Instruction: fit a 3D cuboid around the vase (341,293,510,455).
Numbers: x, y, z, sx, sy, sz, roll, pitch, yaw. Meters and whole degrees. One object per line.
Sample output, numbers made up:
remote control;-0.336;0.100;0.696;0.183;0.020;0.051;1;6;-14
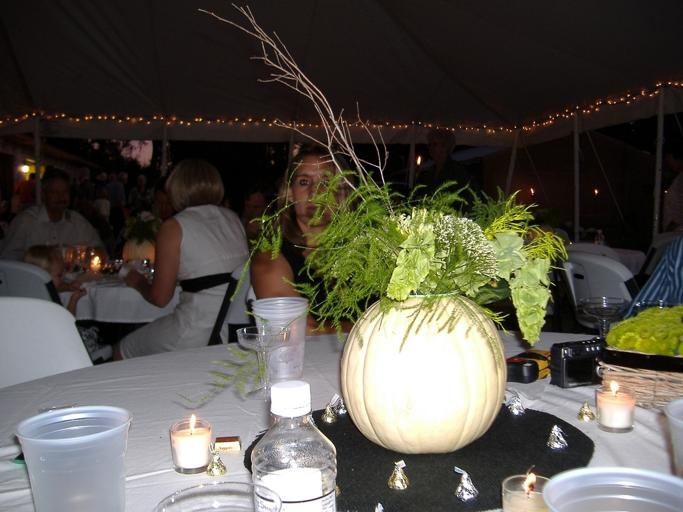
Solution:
vase;0.170;0.209;1.026;0.342;0.360;0.354;-3;8;-18

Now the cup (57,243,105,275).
cup;-1.925;0.036;3.617;0.252;0.201;0.253;0;-2;0

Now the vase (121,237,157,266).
vase;-1.638;-0.036;3.914;0.235;0.237;0.242;1;1;-6

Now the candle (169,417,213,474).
candle;-0.268;0.352;0.928;0.082;0.101;0.089;1;3;3

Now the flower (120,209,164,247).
flower;-1.759;-0.248;4.169;0.275;0.276;0.247;17;11;-16

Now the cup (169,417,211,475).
cup;-0.269;0.356;0.929;0.082;0.101;0.088;1;3;0
